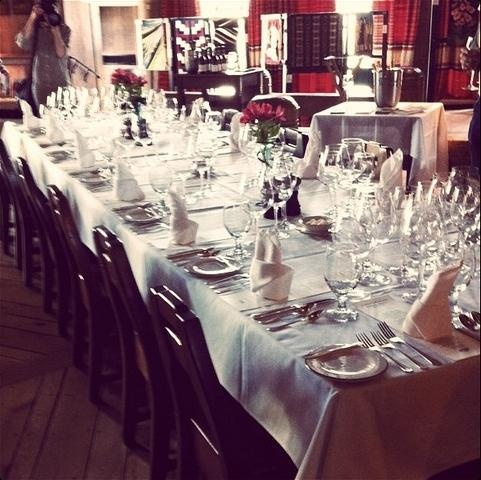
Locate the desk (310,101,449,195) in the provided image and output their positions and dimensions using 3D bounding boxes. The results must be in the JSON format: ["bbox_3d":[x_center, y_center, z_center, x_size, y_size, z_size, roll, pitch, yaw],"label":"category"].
[{"bbox_3d":[1.452,-1.059,4.672,1.085,0.826,1.448,3,20,10],"label":"desk"}]

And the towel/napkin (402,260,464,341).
[{"bbox_3d":[0.428,0.152,0.891,0.111,0.097,0.212,13,57,29],"label":"towel/napkin"}]

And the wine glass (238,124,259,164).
[{"bbox_3d":[0.055,-0.549,2.363,0.126,0.277,0.135,3,40,6],"label":"wine glass"}]

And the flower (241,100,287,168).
[{"bbox_3d":[0.101,-0.471,1.906,0.175,0.360,0.191,-3,8,-9],"label":"flower"}]

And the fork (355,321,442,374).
[{"bbox_3d":[0.311,0.206,0.814,0.050,0.022,0.140,-16,26,-15],"label":"fork"}]

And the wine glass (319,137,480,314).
[{"bbox_3d":[0.550,-0.039,1.167,0.323,0.175,0.427,-7,39,35],"label":"wine glass"}]

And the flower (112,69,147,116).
[{"bbox_3d":[-0.973,-1.318,3.643,0.365,0.407,0.243,12,19,38],"label":"flower"}]

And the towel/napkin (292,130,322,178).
[{"bbox_3d":[0.409,-0.484,2.441,0.110,0.301,0.166,-10,15,19],"label":"towel/napkin"}]

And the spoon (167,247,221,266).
[{"bbox_3d":[-0.162,0.052,1.426,0.131,0.022,0.073,-8,14,-19],"label":"spoon"}]
